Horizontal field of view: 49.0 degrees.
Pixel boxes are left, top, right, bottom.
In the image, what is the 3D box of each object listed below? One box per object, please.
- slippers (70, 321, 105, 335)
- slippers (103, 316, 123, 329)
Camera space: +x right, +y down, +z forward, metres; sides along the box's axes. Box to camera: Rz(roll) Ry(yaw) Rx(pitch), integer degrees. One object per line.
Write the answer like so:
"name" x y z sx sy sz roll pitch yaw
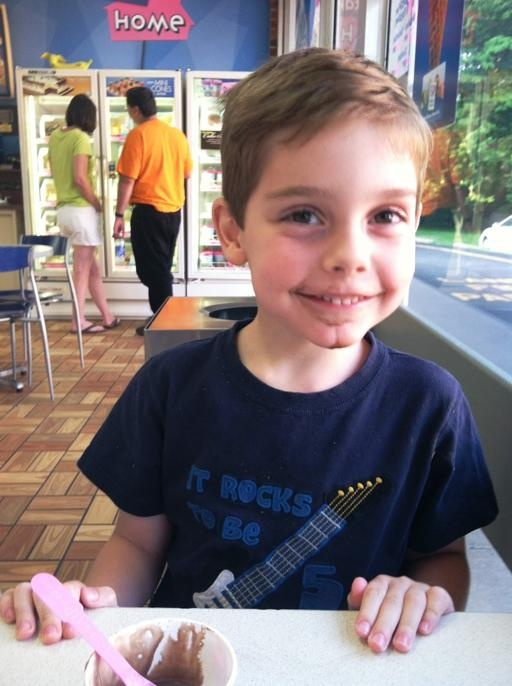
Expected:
"slippers" -1.405 -0.116 4.771 0.320 0.099 0.162 -1 10 -11
"slippers" -1.278 -0.178 5.003 0.054 0.043 0.145 4 28 21
